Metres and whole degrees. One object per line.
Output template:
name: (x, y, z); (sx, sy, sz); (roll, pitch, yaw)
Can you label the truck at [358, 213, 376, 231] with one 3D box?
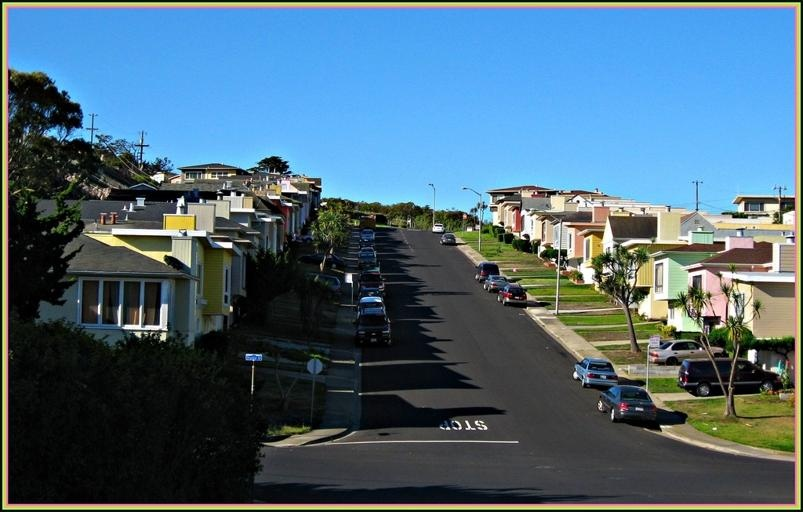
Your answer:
truck: (-5.443, -5.355, 151.701); (2.206, 2.983, 4.036); (2, -1, 0)
